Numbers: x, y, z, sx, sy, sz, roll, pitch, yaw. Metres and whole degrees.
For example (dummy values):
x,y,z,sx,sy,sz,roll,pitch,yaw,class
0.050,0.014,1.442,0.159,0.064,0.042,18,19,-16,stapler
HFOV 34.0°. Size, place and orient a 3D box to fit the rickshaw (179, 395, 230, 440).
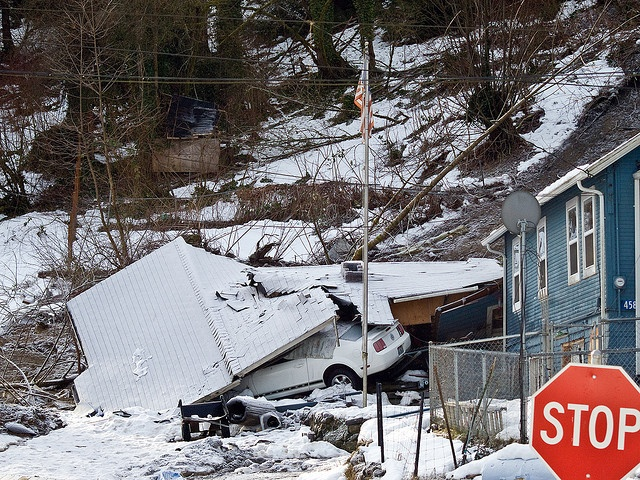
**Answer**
x,y,z,sx,sy,sz,roll,pitch,yaw,class
-3.199,4.911,28.866,1.050,1.097,1.131,2,-3,-34,rickshaw
